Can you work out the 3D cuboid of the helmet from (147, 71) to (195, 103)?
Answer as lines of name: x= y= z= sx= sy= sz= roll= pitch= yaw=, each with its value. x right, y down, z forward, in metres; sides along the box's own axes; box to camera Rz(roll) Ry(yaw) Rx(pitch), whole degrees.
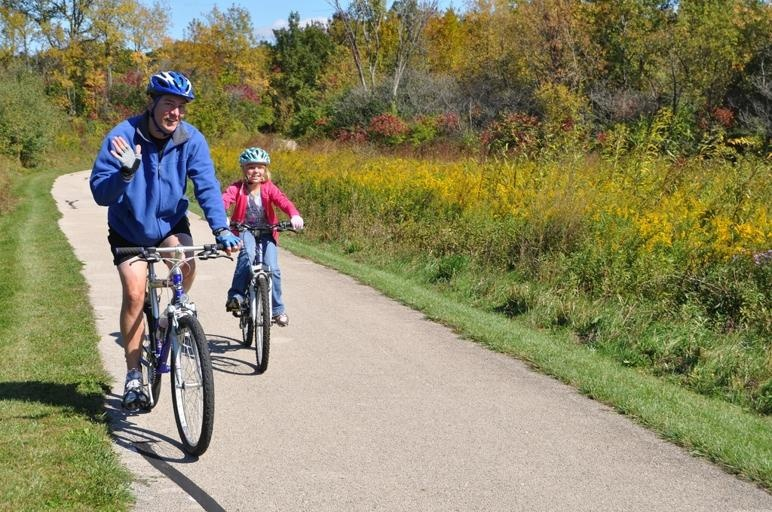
helmet: x=-2.504 y=-1.933 z=9.234 sx=0.349 sy=0.238 sz=0.513 roll=1 pitch=8 yaw=-36

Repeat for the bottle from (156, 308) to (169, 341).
bottle: x=-2.573 y=0.793 z=9.327 sx=0.116 sy=0.484 sz=0.125 roll=11 pitch=30 yaw=-6
